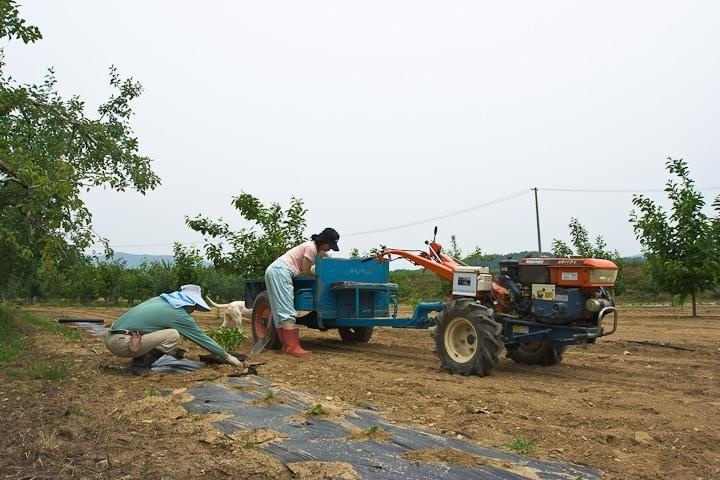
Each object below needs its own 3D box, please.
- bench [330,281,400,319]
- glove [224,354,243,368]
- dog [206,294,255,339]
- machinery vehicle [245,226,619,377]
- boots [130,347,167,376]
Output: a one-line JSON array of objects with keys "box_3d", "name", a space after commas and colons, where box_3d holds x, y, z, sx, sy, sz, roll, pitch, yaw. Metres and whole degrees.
[{"box_3d": [0.100, 1.289, 11.274, 1.477, 0.618, 0.842, 7, -13, -35], "name": "bench"}, {"box_3d": [-2.272, 2.219, 9.108, 0.332, 0.083, 0.195, 26, 18, 6], "name": "glove"}, {"box_3d": [-3.407, 2.159, 15.088, 2.164, 1.093, 0.521, 0, -13, -45], "name": "dog"}, {"box_3d": [1.363, 1.329, 10.515, 6.969, 2.436, 3.378, -4, -4, 36], "name": "machinery vehicle"}, {"box_3d": [-3.750, 2.182, 8.781, 0.646, 0.570, 0.344, -5, 10, -33], "name": "boots"}]
